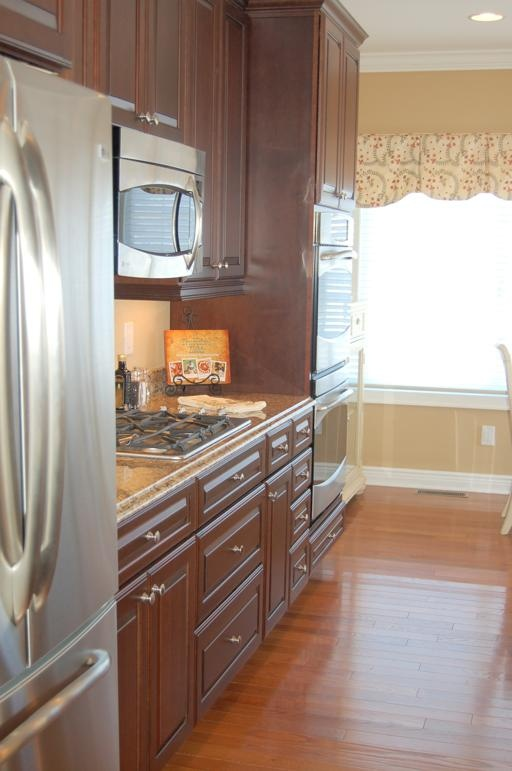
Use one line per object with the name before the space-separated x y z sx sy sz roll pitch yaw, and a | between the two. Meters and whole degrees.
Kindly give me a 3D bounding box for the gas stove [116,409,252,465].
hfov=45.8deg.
gas stove | -0.285 0.155 2.045 0.294 0.053 0.297 6 26 21
